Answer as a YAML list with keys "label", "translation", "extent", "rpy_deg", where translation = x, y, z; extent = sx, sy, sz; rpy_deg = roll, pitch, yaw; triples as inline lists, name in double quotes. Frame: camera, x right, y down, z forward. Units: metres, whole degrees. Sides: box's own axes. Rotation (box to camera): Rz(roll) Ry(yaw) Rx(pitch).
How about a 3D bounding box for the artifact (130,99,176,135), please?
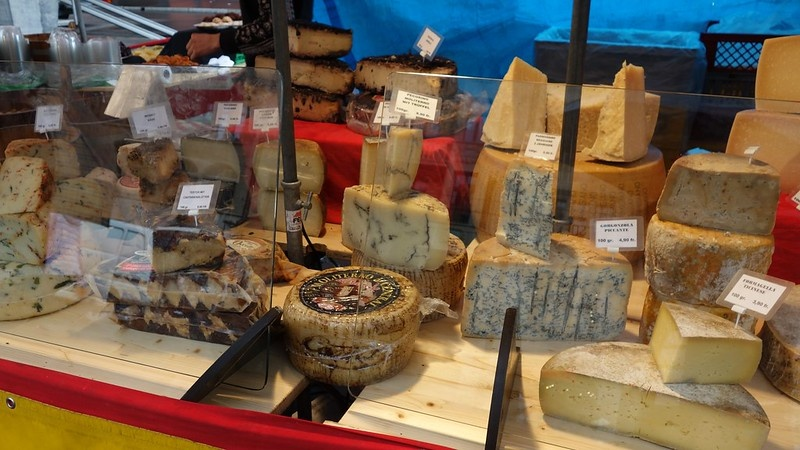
- label: "artifact"
  translation: [-1.120, -0.463, 2.470]
  extent: [0.217, 0.134, 0.048]
  rpy_deg: [-11, -6, 6]

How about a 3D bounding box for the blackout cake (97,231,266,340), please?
- label: "blackout cake"
  translation: [-0.956, 0.239, 2.409]
  extent: [0.749, 0.445, 0.227]
  rpy_deg: [7, 19, 8]

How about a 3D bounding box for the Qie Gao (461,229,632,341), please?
- label: "Qie Gao"
  translation: [0.647, 0.232, 2.419]
  extent: [0.636, 0.497, 0.553]
  rpy_deg: [2, 2, 12]

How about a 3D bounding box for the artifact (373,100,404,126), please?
- label: "artifact"
  translation: [-0.050, -0.483, 2.425]
  extent: [0.127, 0.113, 0.029]
  rpy_deg: [4, 0, 14]

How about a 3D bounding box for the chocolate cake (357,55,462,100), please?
- label: "chocolate cake"
  translation: [0.068, -0.996, 3.607]
  extent: [0.713, 0.178, 0.413]
  rpy_deg: [11, 33, 19]

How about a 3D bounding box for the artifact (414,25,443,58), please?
- label: "artifact"
  translation: [0.160, -1.066, 3.239]
  extent: [0.185, 0.187, 0.070]
  rpy_deg: [39, 31, 16]

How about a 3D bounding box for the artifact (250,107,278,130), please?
- label: "artifact"
  translation: [-0.589, -0.461, 2.388]
  extent: [0.108, 0.092, 0.024]
  rpy_deg: [2, -3, 6]

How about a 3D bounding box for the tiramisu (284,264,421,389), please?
- label: "tiramisu"
  translation: [-0.217, 0.433, 2.408]
  extent: [0.576, 0.417, 0.346]
  rpy_deg: [6, 18, 5]

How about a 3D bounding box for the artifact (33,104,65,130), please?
- label: "artifact"
  translation: [-1.674, -0.511, 2.615]
  extent: [0.135, 0.125, 0.035]
  rpy_deg: [1, -6, 17]

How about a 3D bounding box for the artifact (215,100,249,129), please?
- label: "artifact"
  translation: [-0.754, -0.487, 2.421]
  extent: [0.146, 0.110, 0.040]
  rpy_deg: [8, 19, 11]
